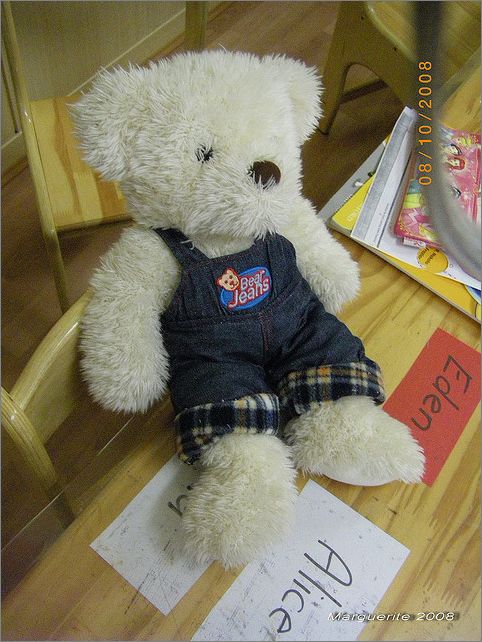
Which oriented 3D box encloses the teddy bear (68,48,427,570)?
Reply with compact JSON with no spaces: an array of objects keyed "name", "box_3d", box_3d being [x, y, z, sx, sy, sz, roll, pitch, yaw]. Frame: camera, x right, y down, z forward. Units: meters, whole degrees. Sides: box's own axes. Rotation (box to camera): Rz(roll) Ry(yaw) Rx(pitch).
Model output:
[{"name":"teddy bear","box_3d":[0.018,-0.051,0.652,0.427,0.518,0.501,-19,42,-29]}]
